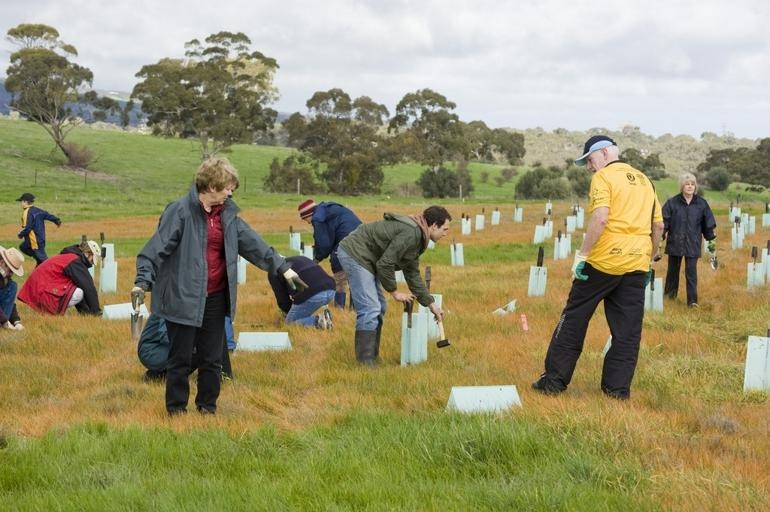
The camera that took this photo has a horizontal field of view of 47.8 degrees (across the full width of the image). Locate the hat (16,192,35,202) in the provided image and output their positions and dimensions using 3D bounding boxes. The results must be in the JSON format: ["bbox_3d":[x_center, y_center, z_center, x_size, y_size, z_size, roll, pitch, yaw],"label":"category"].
[{"bbox_3d":[-8.855,-1.464,21.344,0.244,0.225,1.108,0,7,-28],"label":"hat"}]

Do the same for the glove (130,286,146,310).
[{"bbox_3d":[-3.525,0.608,12.427,0.131,0.364,0.233,1,7,-40],"label":"glove"}]

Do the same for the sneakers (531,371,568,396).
[{"bbox_3d":[2.502,1.931,13.107,0.211,0.294,0.621,1,8,-15],"label":"sneakers"}]

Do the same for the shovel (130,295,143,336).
[{"bbox_3d":[-3.757,0.917,13.103,0.158,0.790,0.170,-4,-36,-4],"label":"shovel"}]

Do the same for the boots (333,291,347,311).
[{"bbox_3d":[-0.915,0.909,17.762,0.267,0.509,0.321,0,1,45],"label":"boots"}]

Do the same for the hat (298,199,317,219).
[{"bbox_3d":[-1.470,-1.026,17.024,0.345,0.167,0.430,-31,13,37],"label":"hat"}]

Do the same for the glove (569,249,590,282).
[{"bbox_3d":[2.924,0.130,12.840,0.208,0.446,0.308,4,6,14],"label":"glove"}]

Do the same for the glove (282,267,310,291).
[{"bbox_3d":[-1.435,0.358,14.286,0.380,0.233,0.123,28,-25,4],"label":"glove"}]

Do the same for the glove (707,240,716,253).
[{"bbox_3d":[6.854,-0.220,18.091,0.196,0.269,0.215,3,9,20],"label":"glove"}]

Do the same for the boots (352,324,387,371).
[{"bbox_3d":[-0.234,1.517,14.467,0.476,0.725,0.589,1,3,-8],"label":"boots"}]

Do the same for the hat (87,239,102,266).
[{"bbox_3d":[-6.159,-0.055,18.320,0.264,0.586,0.390,-15,15,-18],"label":"hat"}]

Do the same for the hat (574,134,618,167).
[{"bbox_3d":[3.213,-1.654,13.195,0.611,0.379,0.417,-15,-1,8],"label":"hat"}]

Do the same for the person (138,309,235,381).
[{"bbox_3d":[-3.469,1.511,14.363,1.082,0.801,1.596,-3,34,-23],"label":"person"}]
